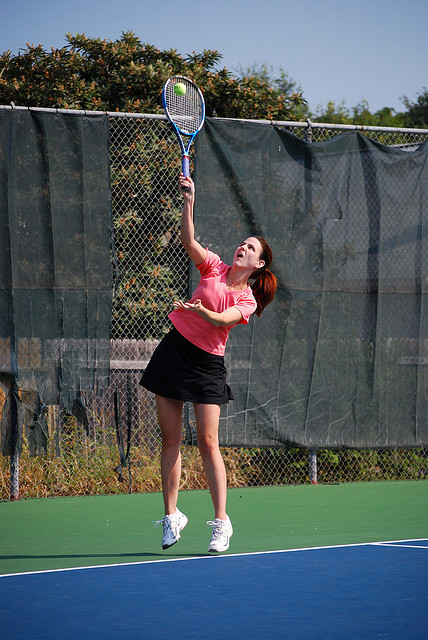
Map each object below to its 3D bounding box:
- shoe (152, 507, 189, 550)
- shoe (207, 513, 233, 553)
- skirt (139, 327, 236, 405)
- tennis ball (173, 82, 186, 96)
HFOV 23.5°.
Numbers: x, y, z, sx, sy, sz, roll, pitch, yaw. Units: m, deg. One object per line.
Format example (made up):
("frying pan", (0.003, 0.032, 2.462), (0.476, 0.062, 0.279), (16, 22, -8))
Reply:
("shoe", (-0.205, 1.030, 5.057), (0.084, 0.100, 0.234), (-41, 10, 37))
("shoe", (0.026, 1.065, 5.109), (0.109, 0.148, 0.216), (2, -1, -1))
("skirt", (-0.107, 0.240, 5.126), (0.410, 0.429, 0.237), (10, -19, 4))
("tennis ball", (-0.197, -1.363, 6.079), (0.062, 0.068, 0.044), (23, -10, -2))
